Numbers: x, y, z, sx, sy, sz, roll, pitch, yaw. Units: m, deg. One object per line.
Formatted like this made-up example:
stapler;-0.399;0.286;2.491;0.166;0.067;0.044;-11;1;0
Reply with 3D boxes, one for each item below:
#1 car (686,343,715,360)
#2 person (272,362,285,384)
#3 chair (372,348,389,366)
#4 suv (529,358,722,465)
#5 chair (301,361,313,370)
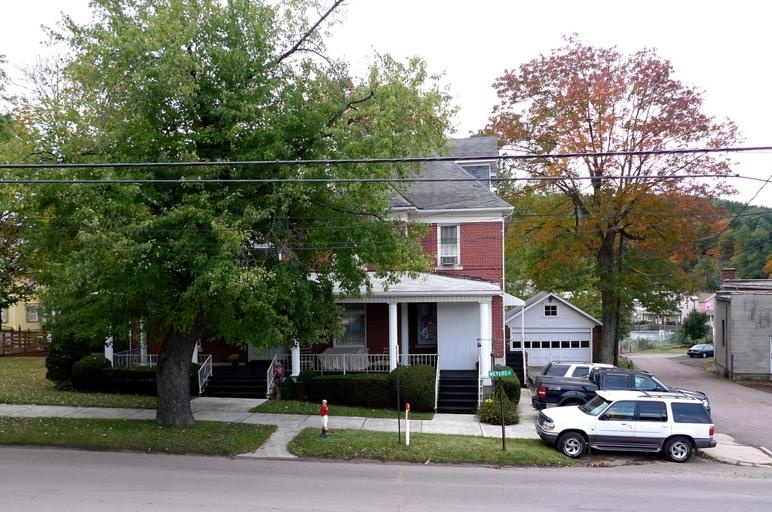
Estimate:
car;27.072;8.078;69.268;2.290;0.744;1.029;-3;0;-27
person;-5.267;5.768;40.185;0.495;1.085;1.775;2;-7;-7
chair;-0.256;5.246;42.080;0.686;1.354;0.884;-6;-13;38
suv;9.696;6.731;33.903;6.319;2.664;3.177;2;-8;5
chair;-3.966;5.594;41.711;0.490;0.328;0.495;0;-8;3
